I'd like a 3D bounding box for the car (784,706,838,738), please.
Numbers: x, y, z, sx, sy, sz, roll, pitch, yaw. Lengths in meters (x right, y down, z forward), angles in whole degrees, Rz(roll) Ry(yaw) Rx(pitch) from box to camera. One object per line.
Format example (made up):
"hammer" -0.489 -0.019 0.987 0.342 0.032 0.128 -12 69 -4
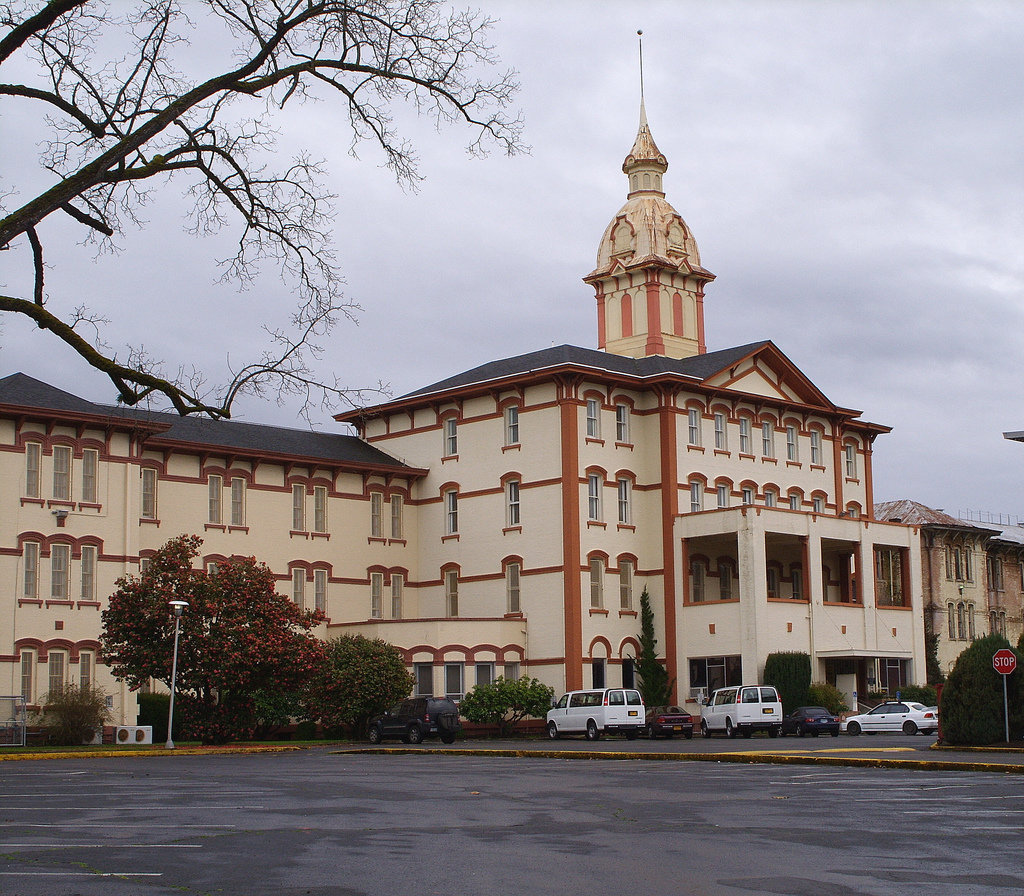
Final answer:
"car" 10.048 9.100 52.200 1.639 1.058 1.417 2 -15 -9

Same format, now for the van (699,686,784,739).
"van" 7.693 8.811 52.779 1.523 1.139 2.385 4 -8 -28

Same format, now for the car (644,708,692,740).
"car" 5.408 9.307 53.441 1.040 1.076 1.610 10 -18 -34

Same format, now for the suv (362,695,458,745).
"suv" -3.119 8.981 51.741 2.839 1.098 1.375 -4 -9 40

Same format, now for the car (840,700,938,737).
"car" 12.772 9.105 52.559 3.083 1.075 1.333 -3 -8 38

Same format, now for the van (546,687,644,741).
"van" 2.818 9.034 53.741 1.738 1.273 2.991 7 -9 -40
